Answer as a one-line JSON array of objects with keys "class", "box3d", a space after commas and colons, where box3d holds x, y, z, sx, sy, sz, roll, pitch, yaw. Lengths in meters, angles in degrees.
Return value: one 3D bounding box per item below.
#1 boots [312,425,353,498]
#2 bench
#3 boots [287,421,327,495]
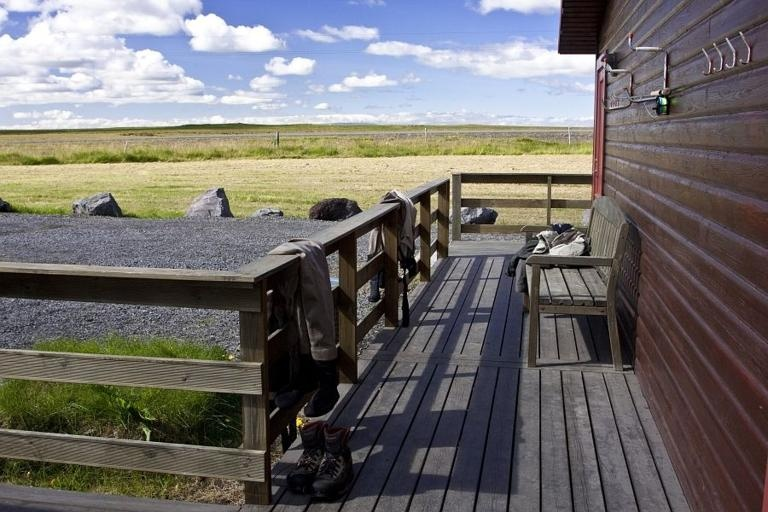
[{"class": "boots", "box3d": [-0.304, 1.171, 3.063, 0.163, 0.335, 0.476, -2, 1, 12]}, {"class": "bench", "box3d": [1.842, 0.065, 5.436, 0.864, 1.320, 2.151, 1, 10, 14]}, {"class": "boots", "box3d": [-0.458, 1.166, 3.154, 0.159, 0.272, 0.460, 1, 5, 12]}]
